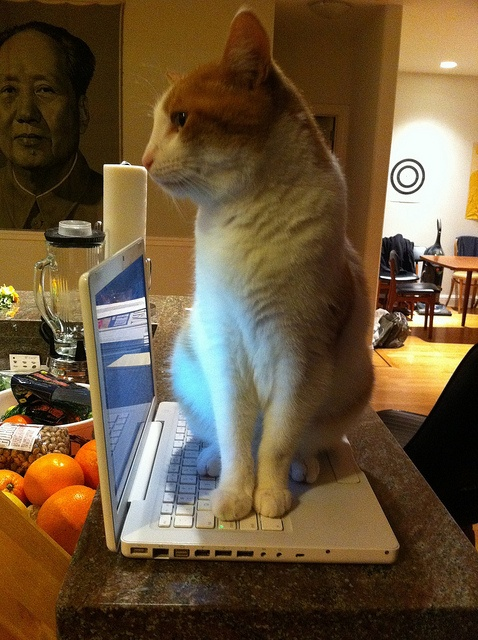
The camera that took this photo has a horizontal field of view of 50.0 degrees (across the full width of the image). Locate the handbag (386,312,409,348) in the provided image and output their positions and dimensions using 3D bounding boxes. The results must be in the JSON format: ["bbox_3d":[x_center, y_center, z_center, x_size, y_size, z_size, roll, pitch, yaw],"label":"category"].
[{"bbox_3d":[1.072,0.079,3.471,0.128,0.192,0.245,8,9,2],"label":"handbag"}]

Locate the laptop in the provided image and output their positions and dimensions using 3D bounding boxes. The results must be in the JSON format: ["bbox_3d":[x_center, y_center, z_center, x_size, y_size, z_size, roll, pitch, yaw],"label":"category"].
[{"bbox_3d":[0.011,0.131,0.628,0.290,0.313,0.390,0,18,1],"label":"laptop"}]

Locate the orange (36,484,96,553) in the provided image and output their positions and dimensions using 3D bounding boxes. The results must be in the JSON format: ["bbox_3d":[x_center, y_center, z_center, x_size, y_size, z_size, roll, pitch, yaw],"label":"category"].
[{"bbox_3d":[-0.209,0.246,0.671,0.067,0.070,0.070,-6,36,46],"label":"orange"}]

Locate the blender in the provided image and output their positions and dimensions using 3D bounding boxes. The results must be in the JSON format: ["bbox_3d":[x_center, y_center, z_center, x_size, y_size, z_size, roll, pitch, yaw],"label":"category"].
[{"bbox_3d":[-0.378,-0.036,1.124,0.137,0.346,0.134,1,11,-25],"label":"blender"}]

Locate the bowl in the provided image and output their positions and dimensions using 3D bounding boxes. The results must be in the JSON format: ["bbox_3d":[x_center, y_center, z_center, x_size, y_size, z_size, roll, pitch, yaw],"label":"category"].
[{"bbox_3d":[-0.321,0.178,0.858,0.124,0.052,0.112,27,13,14],"label":"bowl"}]

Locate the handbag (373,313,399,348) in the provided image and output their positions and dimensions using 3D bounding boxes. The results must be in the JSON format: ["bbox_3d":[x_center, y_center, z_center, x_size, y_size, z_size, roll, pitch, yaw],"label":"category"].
[{"bbox_3d":[0.987,0.078,3.420,0.072,0.199,0.153,21,10,-7],"label":"handbag"}]
